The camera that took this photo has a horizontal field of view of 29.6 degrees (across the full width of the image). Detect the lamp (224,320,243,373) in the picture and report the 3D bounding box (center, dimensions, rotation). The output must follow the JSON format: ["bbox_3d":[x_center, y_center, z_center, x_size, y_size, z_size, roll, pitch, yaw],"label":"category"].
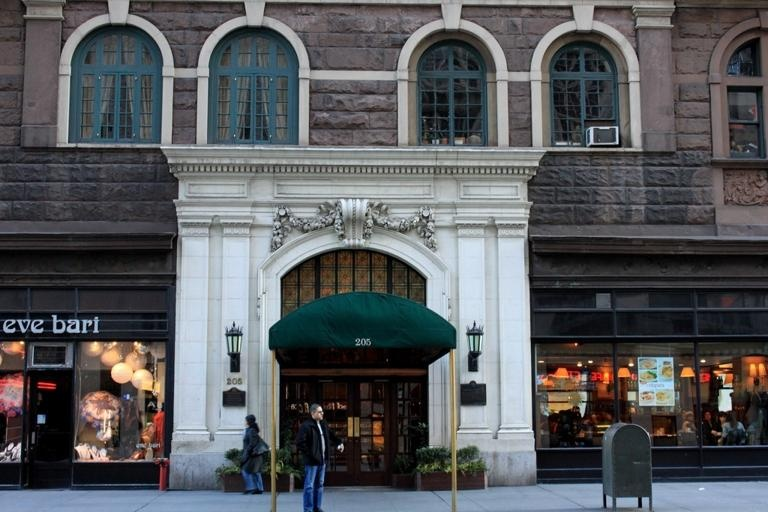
[{"bbox_3d":[-4.172,2.556,41.126,0.487,1.416,0.440,-1,-8,-4],"label":"lamp"}]

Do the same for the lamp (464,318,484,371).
[{"bbox_3d":[2.644,2.569,41.416,0.494,1.391,0.503,-2,-8,2],"label":"lamp"}]

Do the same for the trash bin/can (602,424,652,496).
[{"bbox_3d":[6.365,5.319,38.127,1.204,1.923,0.530,-2,-8,3],"label":"trash bin/can"}]

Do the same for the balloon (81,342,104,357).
[{"bbox_3d":[-8.276,2.704,41.723,0.512,0.423,0.559,17,-13,-30],"label":"balloon"}]

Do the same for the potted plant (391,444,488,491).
[{"bbox_3d":[1.879,5.851,41.013,1.749,0.660,1.577,-2,-10,5],"label":"potted plant"}]

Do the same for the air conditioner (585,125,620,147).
[{"bbox_3d":[6.386,-3.425,42.501,1.043,0.541,0.602,0,-5,0],"label":"air conditioner"}]

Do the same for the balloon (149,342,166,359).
[{"bbox_3d":[-6.382,2.685,41.611,0.520,0.441,0.501,-2,-4,7],"label":"balloon"}]

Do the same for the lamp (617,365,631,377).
[{"bbox_3d":[6.927,3.335,42.090,0.388,0.297,0.355,-2,2,11],"label":"lamp"}]

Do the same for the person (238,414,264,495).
[{"bbox_3d":[-3.515,5.486,40.380,0.898,2.111,0.985,-5,-14,22],"label":"person"}]

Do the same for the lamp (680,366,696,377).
[{"bbox_3d":[8.798,3.355,42.178,0.341,0.293,0.324,-3,-1,38],"label":"lamp"}]

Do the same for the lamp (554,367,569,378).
[{"bbox_3d":[5.155,3.376,41.979,0.374,0.220,0.340,-2,1,4],"label":"lamp"}]
